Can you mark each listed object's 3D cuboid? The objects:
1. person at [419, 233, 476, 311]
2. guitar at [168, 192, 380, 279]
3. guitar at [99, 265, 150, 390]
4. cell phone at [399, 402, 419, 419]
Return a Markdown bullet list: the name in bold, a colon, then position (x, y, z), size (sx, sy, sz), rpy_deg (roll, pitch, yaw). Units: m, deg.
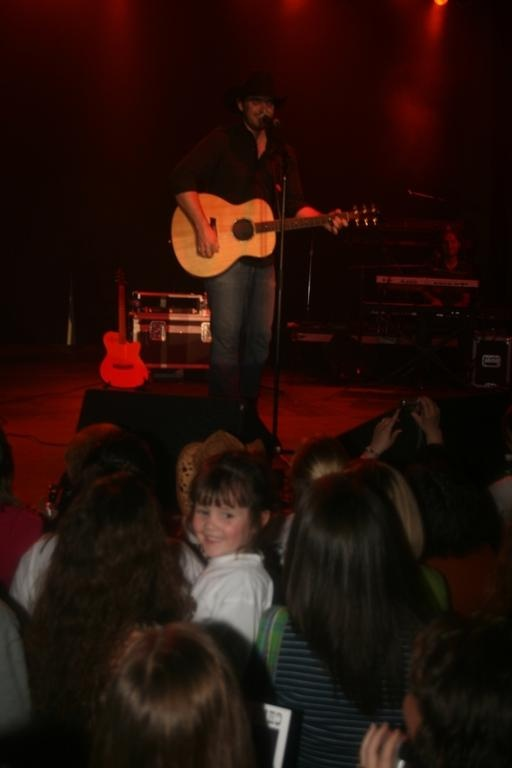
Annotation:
- **person**: position (1.904, -1.112, 5.823), size (0.499, 0.791, 0.517), rpy_deg (-4, 9, -24)
- **guitar**: position (0.083, -0.736, 2.915), size (0.967, 0.452, 0.157), rpy_deg (-6, 2, 1)
- **guitar**: position (-1.263, -0.509, 5.736), size (0.432, 0.958, 0.690), rpy_deg (3, -1, -14)
- **cell phone**: position (0.556, 0.096, 2.158), size (0.053, 0.105, 0.056), rpy_deg (-7, 5, -43)
